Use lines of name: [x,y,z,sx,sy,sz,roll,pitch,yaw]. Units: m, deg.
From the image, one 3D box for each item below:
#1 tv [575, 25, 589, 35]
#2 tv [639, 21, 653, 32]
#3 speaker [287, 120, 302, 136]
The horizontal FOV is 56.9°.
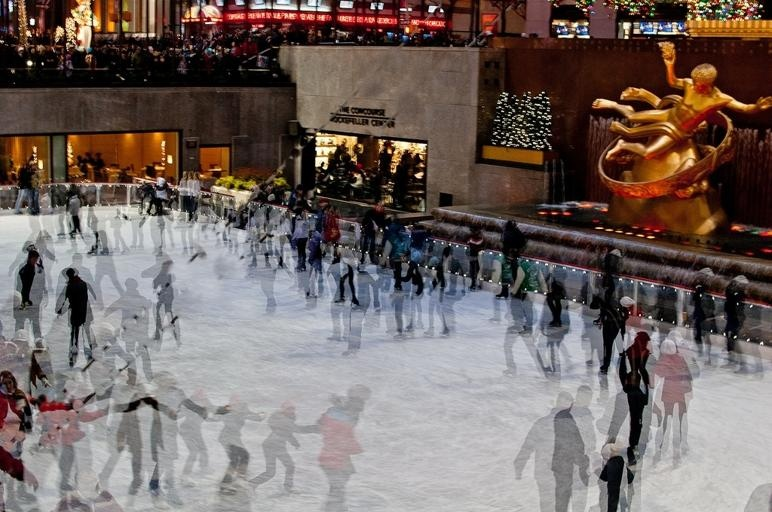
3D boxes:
tv: [12.561,-14.613,45.900,0.643,0.929,2.053,5,13,11]
tv: [15.028,-13.321,41.361,0.624,0.521,0.318,9,22,18]
speaker: [-4.434,-6.131,34.097,0.716,0.803,0.893,-1,9,-3]
